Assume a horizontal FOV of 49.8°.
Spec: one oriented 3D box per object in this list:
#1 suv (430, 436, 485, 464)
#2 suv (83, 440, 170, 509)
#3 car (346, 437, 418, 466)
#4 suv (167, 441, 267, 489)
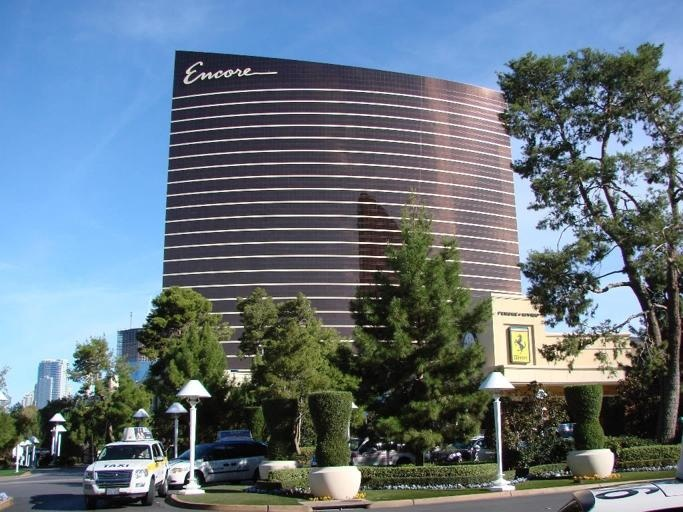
[{"bbox_3d":[8.021,13.039,49.498,2.663,1.282,5.748,-11,-13,35],"label":"suv"},{"bbox_3d":[-9.320,9.667,32.674,2.042,2.803,3.726,-12,-14,40],"label":"suv"},{"bbox_3d":[2.519,12.533,46.428,3.670,1.065,2.552,7,-17,-7],"label":"car"},{"bbox_3d":[-6.777,11.203,39.879,4.205,1.891,2.304,9,-19,-27],"label":"suv"}]
